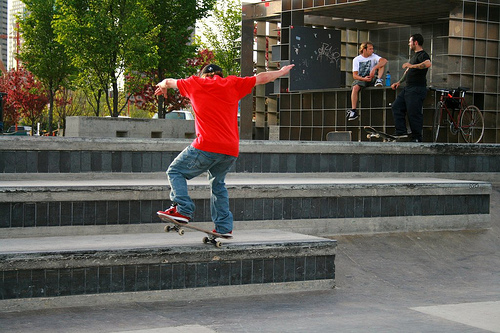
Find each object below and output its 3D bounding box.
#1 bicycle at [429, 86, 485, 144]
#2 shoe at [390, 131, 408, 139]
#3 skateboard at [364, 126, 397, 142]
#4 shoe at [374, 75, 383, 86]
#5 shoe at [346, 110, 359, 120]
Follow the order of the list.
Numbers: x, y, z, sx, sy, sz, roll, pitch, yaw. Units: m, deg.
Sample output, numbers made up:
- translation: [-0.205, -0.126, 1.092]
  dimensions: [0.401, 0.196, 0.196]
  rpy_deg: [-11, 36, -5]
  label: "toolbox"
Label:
- translation: [5.438, -1.321, 18.345]
  dimensions: [2.575, 1.600, 0.966]
  rpy_deg: [-4, 10, -37]
  label: "bicycle"
- translation: [3.624, -0.762, 16.558]
  dimensions: [0.328, 0.174, 0.419]
  rpy_deg: [-1, 4, -1]
  label: "shoe"
- translation: [3.707, -0.962, 19.490]
  dimensions: [0.952, 0.141, 0.230]
  rpy_deg: [30, -34, -6]
  label: "skateboard"
- translation: [3.490, -2.305, 18.636]
  dimensions: [0.193, 0.246, 0.579]
  rpy_deg: [4, 13, 10]
  label: "shoe"
- translation: [2.782, -1.407, 18.523]
  dimensions: [0.250, 0.240, 0.595]
  rpy_deg: [0, 4, 10]
  label: "shoe"
